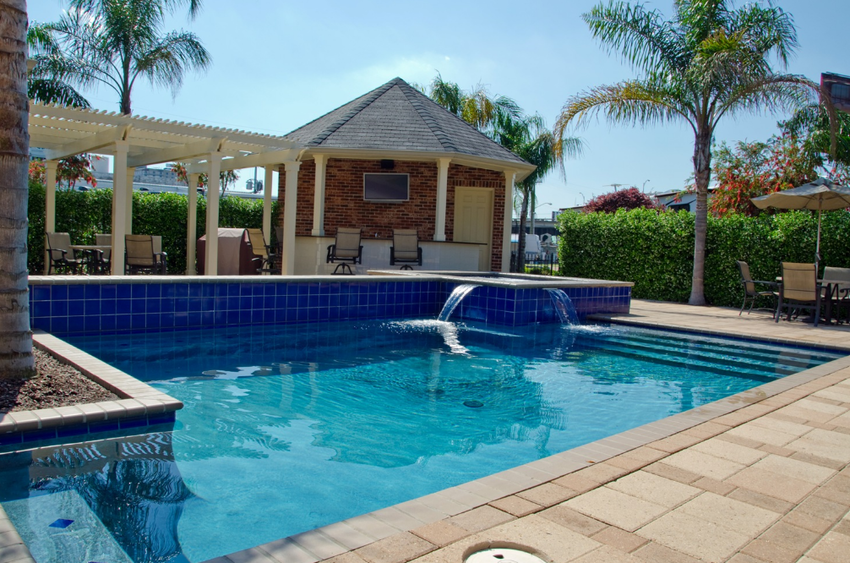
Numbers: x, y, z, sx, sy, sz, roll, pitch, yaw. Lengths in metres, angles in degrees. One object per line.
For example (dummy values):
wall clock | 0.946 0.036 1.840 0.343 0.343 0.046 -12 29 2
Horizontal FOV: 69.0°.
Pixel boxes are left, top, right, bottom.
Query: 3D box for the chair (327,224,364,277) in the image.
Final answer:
chair | -2.051 -0.732 15.909 0.847 1.132 0.844 5 12 4

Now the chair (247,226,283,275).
chair | -4.628 -0.851 17.836 0.912 1.404 2.123 0 12 -13

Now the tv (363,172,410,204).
tv | -1.170 -2.895 18.869 1.372 0.875 0.342 1 12 -9

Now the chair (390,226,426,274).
chair | -0.509 -0.949 16.865 1.023 1.436 1.016 1 10 0
